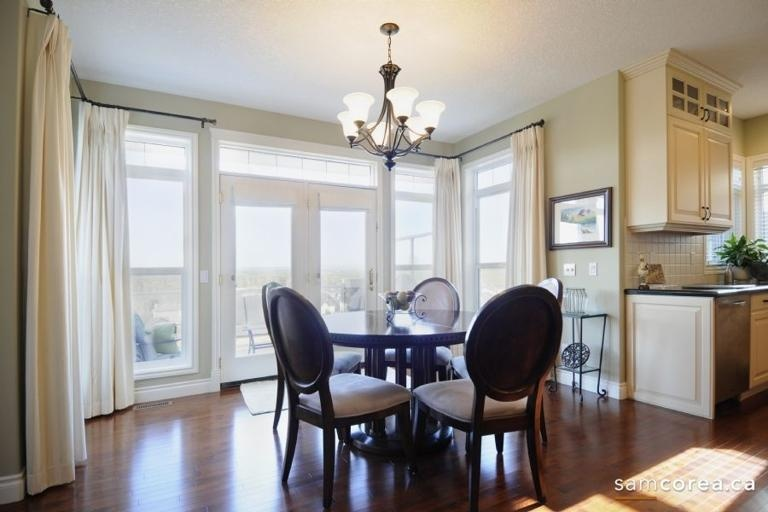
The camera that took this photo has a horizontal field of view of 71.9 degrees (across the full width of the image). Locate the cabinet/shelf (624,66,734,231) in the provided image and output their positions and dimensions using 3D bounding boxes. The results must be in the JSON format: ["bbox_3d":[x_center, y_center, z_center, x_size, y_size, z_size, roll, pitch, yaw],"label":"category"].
[{"bbox_3d":[2.914,-1.086,5.368,1.592,1.556,0.470,5,-7,-37],"label":"cabinet/shelf"}]

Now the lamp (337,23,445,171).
[{"bbox_3d":[0.046,-1.479,4.820,0.899,1.294,1.074,1,-7,-14],"label":"lamp"}]

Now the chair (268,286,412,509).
[{"bbox_3d":[-0.349,1.038,4.101,1.007,1.456,0.462,-2,-1,-14],"label":"chair"}]

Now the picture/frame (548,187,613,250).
[{"bbox_3d":[2.110,-0.388,5.656,0.055,0.665,0.701,5,-5,-32],"label":"picture/frame"}]

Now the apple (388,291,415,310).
[{"bbox_3d":[0.146,0.414,4.857,0.182,0.100,0.186,-9,-14,35],"label":"apple"}]
